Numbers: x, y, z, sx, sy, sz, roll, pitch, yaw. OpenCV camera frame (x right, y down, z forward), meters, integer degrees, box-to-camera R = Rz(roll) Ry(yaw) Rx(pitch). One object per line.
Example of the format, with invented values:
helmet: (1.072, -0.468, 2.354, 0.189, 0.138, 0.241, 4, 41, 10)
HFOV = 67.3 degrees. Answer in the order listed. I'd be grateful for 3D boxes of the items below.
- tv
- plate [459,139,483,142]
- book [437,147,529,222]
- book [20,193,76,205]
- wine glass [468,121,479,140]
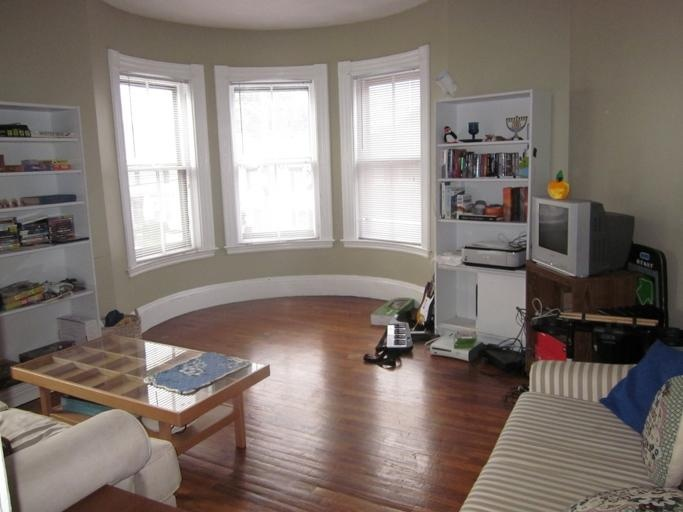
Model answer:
tv: (1.759, -0.179, 3.854, 0.595, 0.542, 0.607, -8, 13, -18)
plate: (1.158, -1.036, 4.628, 0.185, 0.025, 0.312, 0, 14, 11)
book: (1.281, -0.641, 4.592, 0.803, 0.638, 0.411, 5, 15, 27)
book: (-2.391, -0.460, 4.204, 0.430, 0.076, 0.213, -14, 18, -38)
wine glass: (1.203, -1.139, 4.674, 0.096, 0.153, 0.252, 1, 14, 15)
